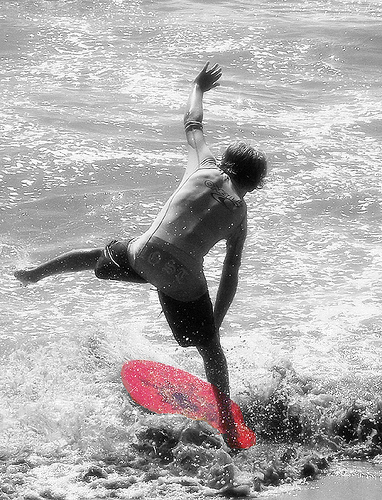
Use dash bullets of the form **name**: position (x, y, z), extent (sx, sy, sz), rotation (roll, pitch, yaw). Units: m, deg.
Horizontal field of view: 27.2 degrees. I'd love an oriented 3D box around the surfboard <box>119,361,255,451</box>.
- **surfboard**: position (-0.121, 0.933, 5.090), extent (0.784, 0.172, 0.392), rotation (24, 10, 37)
